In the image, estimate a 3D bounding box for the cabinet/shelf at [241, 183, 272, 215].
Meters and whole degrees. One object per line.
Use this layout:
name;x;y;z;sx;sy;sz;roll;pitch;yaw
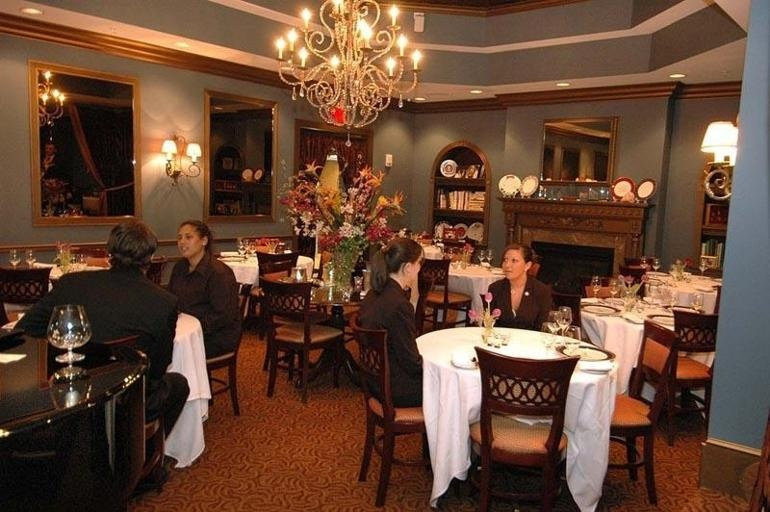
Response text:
cabinet/shelf;-2.085;-0.933;9.334;0.636;0.613;0.345;2;-6;20

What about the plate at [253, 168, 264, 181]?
plate;-2.115;-1.369;9.120;0.041;0.178;0.178;14;-17;11

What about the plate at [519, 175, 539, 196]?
plate;2.542;-1.254;9.716;0.310;0.370;0.151;13;19;38

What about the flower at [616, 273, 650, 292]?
flower;2.744;0.296;6.100;0.204;0.224;0.230;-3;4;-42

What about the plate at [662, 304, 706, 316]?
plate;3.009;0.529;5.501;0.344;0.047;0.346;0;1;-1

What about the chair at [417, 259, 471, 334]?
chair;0.778;0.544;7.325;0.613;1.022;0.671;4;6;28

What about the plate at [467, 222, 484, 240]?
plate;1.764;-0.502;10.964;0.296;0.340;0.330;2;15;2

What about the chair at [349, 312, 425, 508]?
chair;0.002;1.128;4.168;0.423;1.314;0.566;-5;16;-23

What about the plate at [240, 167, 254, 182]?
plate;-2.219;-1.341;8.957;0.197;0.196;0.046;-5;19;-41

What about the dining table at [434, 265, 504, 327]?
dining table;1.127;0.476;7.299;0.706;0.442;0.718;10;17;26

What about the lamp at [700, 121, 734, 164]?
lamp;4.140;-1.424;6.846;0.647;0.484;0.360;-12;20;-42

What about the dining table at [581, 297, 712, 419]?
dining table;2.333;0.759;5.285;1.129;1.091;1.149;2;8;19

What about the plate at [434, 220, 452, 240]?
plate;1.181;-0.528;11.199;0.051;0.395;0.388;21;5;-46

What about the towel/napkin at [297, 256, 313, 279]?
towel/napkin;-1.014;0.144;7.336;0.278;0.354;0.322;0;-6;4

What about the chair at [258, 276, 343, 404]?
chair;-0.932;0.762;5.679;0.793;1.216;0.887;-10;19;-37

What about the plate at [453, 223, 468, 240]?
plate;1.481;-0.509;11.061;0.299;0.302;0.080;-5;-1;-24

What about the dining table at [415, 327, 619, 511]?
dining table;0.912;1.112;4.496;1.271;1.052;1.405;1;0;1

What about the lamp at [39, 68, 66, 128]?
lamp;-4.321;-2.048;7.100;0.322;0.703;0.099;-9;18;-34

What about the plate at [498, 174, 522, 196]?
plate;2.228;-1.280;9.910;0.228;0.396;0.439;-13;20;-43

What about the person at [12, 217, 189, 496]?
person;-1.998;0.668;4.014;1.303;1.766;1.022;14;-5;-28

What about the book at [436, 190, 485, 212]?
book;1.556;-1.123;11.023;0.907;0.453;0.397;5;0;16

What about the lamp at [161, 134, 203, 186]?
lamp;-3.118;-1.473;8.337;0.608;0.708;0.375;2;7;1

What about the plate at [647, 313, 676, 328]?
plate;2.579;0.590;5.118;0.202;0.028;0.205;8;16;36

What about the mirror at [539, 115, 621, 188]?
mirror;3.263;-1.683;9.333;1.519;1.423;0.105;-1;10;-20

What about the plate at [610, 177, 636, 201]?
plate;3.822;-1.095;8.853;0.356;0.350;0.212;7;16;21

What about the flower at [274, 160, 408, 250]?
flower;-0.412;-0.464;5.662;1.139;0.875;0.405;4;15;9
